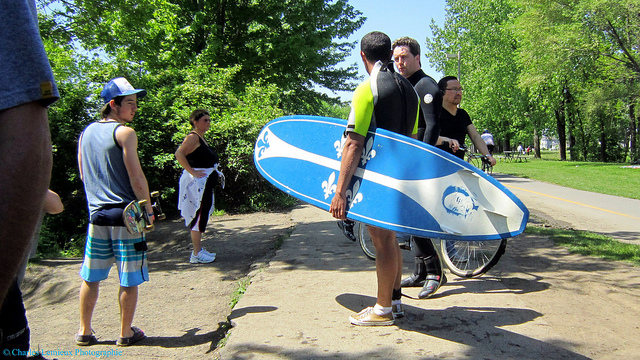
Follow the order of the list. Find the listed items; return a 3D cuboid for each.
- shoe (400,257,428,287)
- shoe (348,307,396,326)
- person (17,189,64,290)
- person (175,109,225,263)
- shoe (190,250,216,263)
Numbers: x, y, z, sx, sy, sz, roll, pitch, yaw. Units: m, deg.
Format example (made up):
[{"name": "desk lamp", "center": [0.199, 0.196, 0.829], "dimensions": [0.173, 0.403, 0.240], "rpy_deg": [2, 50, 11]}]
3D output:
[{"name": "shoe", "center": [1.697, 1.690, 8.189], "dimensions": [0.758, 0.509, 0.255], "rpy_deg": [3, 10, -33]}, {"name": "shoe", "center": [0.871, 2.265, 7.392], "dimensions": [0.709, 0.267, 0.297], "rpy_deg": [4, -4, 6]}, {"name": "person", "center": [-3.575, 0.634, 5.696], "dimensions": [0.535, 1.496, 0.574], "rpy_deg": [2, -1, -2]}, {"name": "person", "center": [-2.591, 0.156, 9.709], "dimensions": [1.085, 3.222, 1.345], "rpy_deg": [1, 0, -8]}, {"name": "shoe", "center": [-2.546, 1.662, 9.564], "dimensions": [0.562, 0.236, 0.209], "rpy_deg": [0, 0, -6]}]
